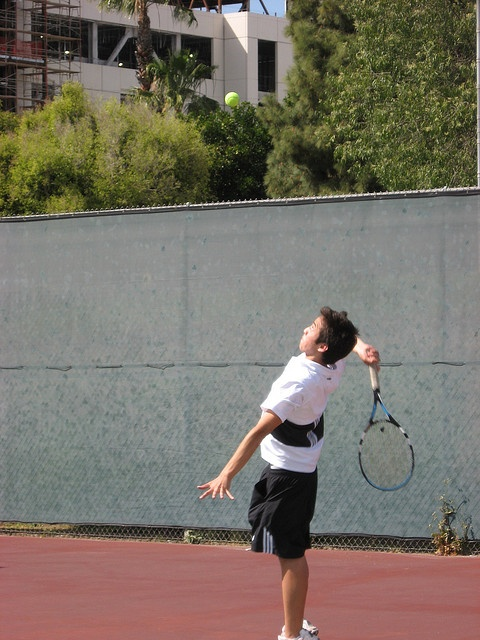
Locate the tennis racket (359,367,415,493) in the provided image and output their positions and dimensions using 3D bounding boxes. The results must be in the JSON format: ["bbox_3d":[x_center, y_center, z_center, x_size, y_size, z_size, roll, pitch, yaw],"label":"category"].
[{"bbox_3d":[1.077,0.702,13.611,0.422,1.580,0.099,1,33,15],"label":"tennis racket"}]
